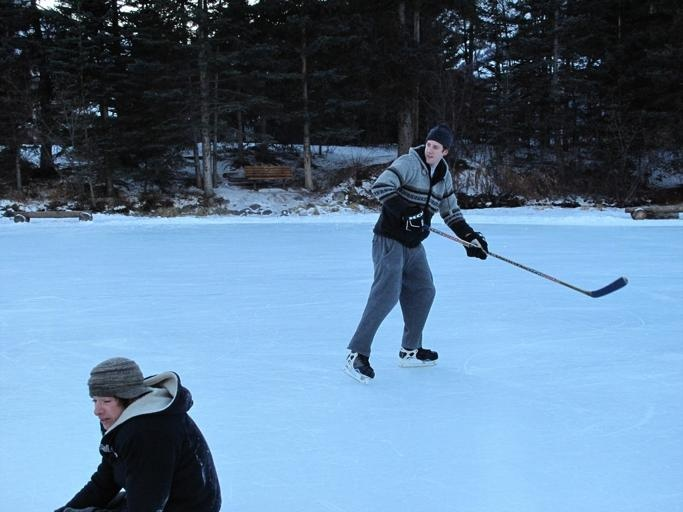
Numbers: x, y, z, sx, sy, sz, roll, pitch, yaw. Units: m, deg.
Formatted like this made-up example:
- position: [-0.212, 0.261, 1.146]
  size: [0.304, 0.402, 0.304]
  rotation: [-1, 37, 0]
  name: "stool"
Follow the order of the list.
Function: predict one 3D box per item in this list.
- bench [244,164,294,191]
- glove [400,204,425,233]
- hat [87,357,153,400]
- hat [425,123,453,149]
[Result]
- position: [-2.505, -2.643, 30.634]
  size: [1.478, 0.743, 1.736]
  rotation: [-2, 7, -7]
  name: "bench"
- position: [0.916, -0.466, 11.540]
  size: [0.264, 0.296, 0.303]
  rotation: [11, 43, 18]
  name: "glove"
- position: [-2.347, 1.290, 9.558]
  size: [0.622, 0.431, 0.167]
  rotation: [-3, 9, -10]
  name: "hat"
- position: [1.266, -1.532, 11.765]
  size: [0.296, 0.327, 0.395]
  rotation: [0, 8, 9]
  name: "hat"
